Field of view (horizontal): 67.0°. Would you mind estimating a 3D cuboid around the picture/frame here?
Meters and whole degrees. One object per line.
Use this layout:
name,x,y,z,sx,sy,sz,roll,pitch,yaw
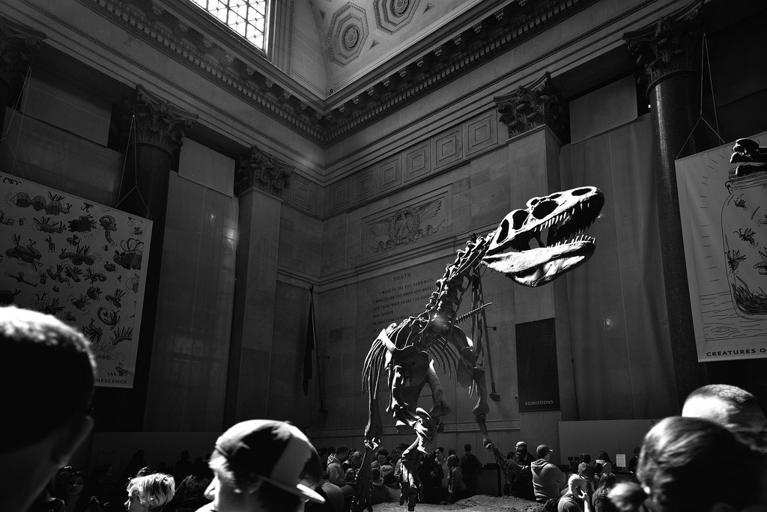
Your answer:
picture/frame,2.412,1.830,9.829,0.913,1.714,0.990,-3,-6,0
